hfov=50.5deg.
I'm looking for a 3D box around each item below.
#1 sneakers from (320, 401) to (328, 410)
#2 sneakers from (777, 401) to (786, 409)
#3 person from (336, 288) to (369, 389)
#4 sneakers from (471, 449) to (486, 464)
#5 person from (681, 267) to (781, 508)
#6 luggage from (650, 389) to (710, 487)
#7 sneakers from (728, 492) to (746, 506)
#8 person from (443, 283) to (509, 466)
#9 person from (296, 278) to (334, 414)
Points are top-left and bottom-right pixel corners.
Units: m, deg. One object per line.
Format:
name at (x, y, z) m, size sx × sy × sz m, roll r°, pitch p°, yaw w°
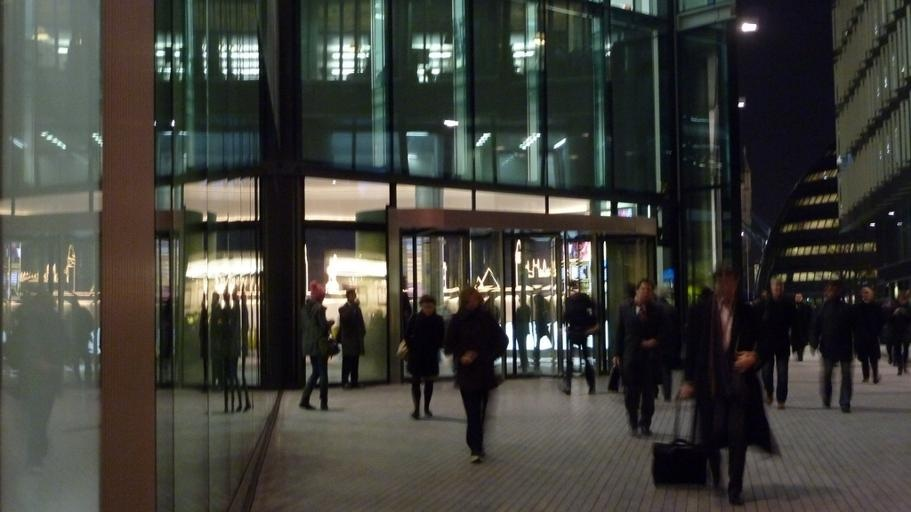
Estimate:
sneakers at (-2.552, 2.890, 18.713) m, size 0.148 × 0.147 × 0.143 m, roll 0°, pitch -3°, yaw -11°
sneakers at (6.332, 2.897, 18.761) m, size 0.153 × 0.171 × 0.160 m, roll -2°, pitch -2°, yaw 21°
person at (-2.378, 1.851, 21.652) m, size 0.613 × 2.298 × 1.346 m, roll -1°, pitch 2°, yaw -8°
sneakers at (0.322, 2.984, 14.311) m, size 0.154 × 0.175 × 0.193 m, roll 0°, pitch -12°, yaw 2°
person at (3.559, 1.659, 12.642) m, size 1.162 × 3.050 × 0.578 m, roll 1°, pitch 2°, yaw 17°
luggage at (3.123, 2.538, 13.463) m, size 0.857 × 1.251 × 0.843 m, roll 3°, pitch -2°, yaw 24°
sneakers at (3.632, 3.124, 12.483) m, size 0.191 × 0.148 × 0.206 m, roll 0°, pitch 2°, yaw 14°
person at (0.274, 1.753, 14.337) m, size 0.852 × 2.523 × 0.423 m, roll 0°, pitch 2°, yaw -1°
person at (-2.777, 1.756, 19.097) m, size 0.634 × 2.502 × 1.574 m, roll 0°, pitch 2°, yaw -8°
